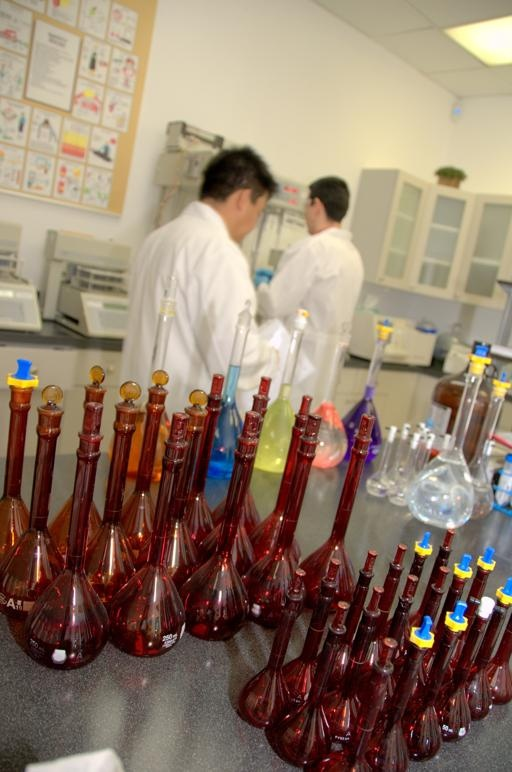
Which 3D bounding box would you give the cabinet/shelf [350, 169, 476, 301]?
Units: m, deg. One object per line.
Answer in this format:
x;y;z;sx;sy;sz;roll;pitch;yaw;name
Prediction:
1.139;-1.108;4.113;0.916;0.798;0.393;1;15;-34;cabinet/shelf
